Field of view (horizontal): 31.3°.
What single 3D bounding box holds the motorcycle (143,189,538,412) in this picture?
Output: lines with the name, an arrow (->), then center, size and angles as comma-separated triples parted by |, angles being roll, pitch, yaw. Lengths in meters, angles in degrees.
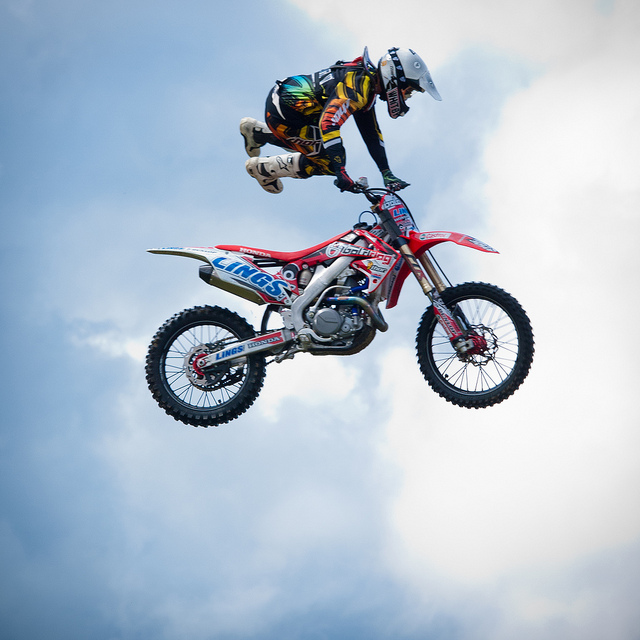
motorcycle -> 0.113, -0.108, 9.925 | 3.676, 1.666, 1.352 | -5, -14, 25

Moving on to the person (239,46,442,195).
person -> 0.177, -1.761, 10.455 | 2.038, 0.989, 1.017 | -8, -90, 21

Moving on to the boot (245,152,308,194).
boot -> -0.407, -1.424, 11.019 | 0.560, 0.352, 0.406 | -15, -54, 4
